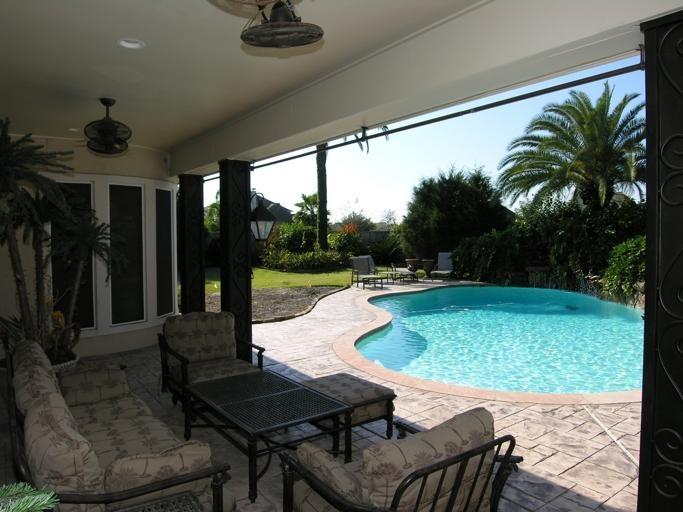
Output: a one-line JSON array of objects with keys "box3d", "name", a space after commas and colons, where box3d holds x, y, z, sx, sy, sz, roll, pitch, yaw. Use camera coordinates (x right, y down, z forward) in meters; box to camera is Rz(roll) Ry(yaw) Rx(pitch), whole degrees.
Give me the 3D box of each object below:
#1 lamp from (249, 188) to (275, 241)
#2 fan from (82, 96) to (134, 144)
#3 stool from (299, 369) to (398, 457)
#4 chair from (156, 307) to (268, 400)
[{"box3d": [-1.122, -0.566, 6.758, 0.357, 0.724, 0.582, -2, 1, -10], "name": "lamp"}, {"box3d": [-2.858, -1.649, 5.950, 0.520, 0.524, 0.539, 0, -2, -5], "name": "fan"}, {"box3d": [0.135, 1.332, 4.475, 0.574, 0.410, 0.746, -9, 13, -37], "name": "stool"}, {"box3d": [-1.465, 1.029, 5.333, 1.188, 1.057, 0.951, -1, 2, -33], "name": "chair"}]
